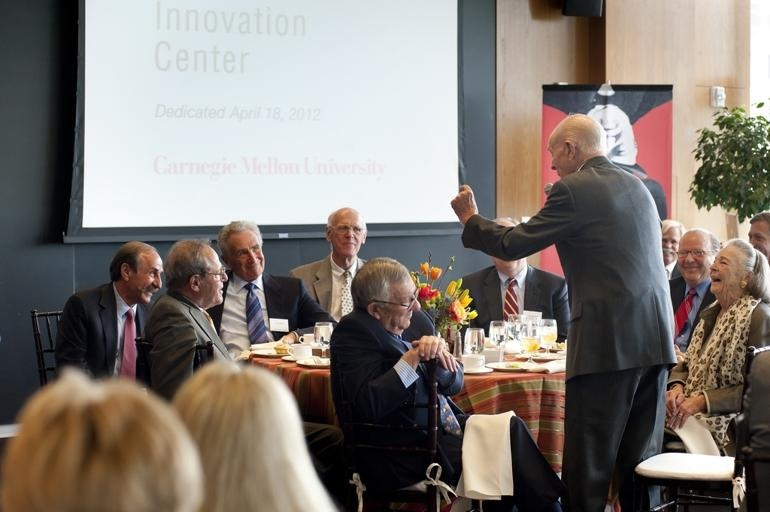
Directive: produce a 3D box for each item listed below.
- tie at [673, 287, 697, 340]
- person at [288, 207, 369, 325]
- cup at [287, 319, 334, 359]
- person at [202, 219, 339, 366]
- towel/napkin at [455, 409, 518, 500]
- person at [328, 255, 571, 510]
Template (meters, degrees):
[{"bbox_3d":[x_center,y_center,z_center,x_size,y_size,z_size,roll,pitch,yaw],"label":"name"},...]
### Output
[{"bbox_3d":[1.984,0.387,4.573,0.091,0.288,0.193,1,4,-34],"label":"tie"},{"bbox_3d":[-0.412,0.062,4.721,0.771,0.823,0.427,2,-2,-26],"label":"person"},{"bbox_3d":[-0.376,0.472,3.771,0.261,0.296,0.164,-2,-7,13],"label":"cup"},{"bbox_3d":[-0.867,0.171,4.629,0.772,1.105,0.751,-14,3,-36],"label":"person"},{"bbox_3d":[0.450,0.908,3.138,0.318,0.506,0.332,1,-31,6],"label":"towel/napkin"},{"bbox_3d":[0.404,0.601,3.683,1.153,1.647,0.808,-11,-4,3],"label":"person"}]
